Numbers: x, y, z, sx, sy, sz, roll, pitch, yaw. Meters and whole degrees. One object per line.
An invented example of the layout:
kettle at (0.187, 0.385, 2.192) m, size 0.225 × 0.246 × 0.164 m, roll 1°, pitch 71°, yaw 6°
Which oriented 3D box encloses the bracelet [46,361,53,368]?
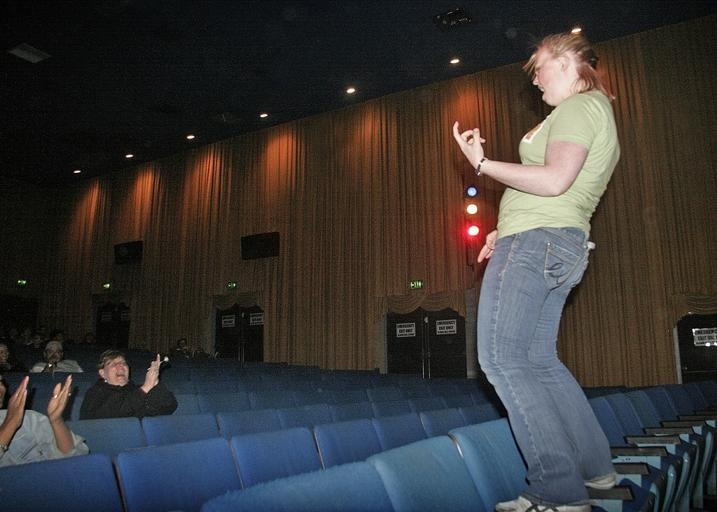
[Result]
bracelet at (-3.190, 1.129, 4.952) m, size 0.063 × 0.033 × 0.030 m, roll -24°, pitch -34°, yaw 18°

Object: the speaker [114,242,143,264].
speaker at (-7.079, -0.071, 14.765) m, size 1.146 × 0.680 × 0.268 m, roll -9°, pitch -14°, yaw 27°
